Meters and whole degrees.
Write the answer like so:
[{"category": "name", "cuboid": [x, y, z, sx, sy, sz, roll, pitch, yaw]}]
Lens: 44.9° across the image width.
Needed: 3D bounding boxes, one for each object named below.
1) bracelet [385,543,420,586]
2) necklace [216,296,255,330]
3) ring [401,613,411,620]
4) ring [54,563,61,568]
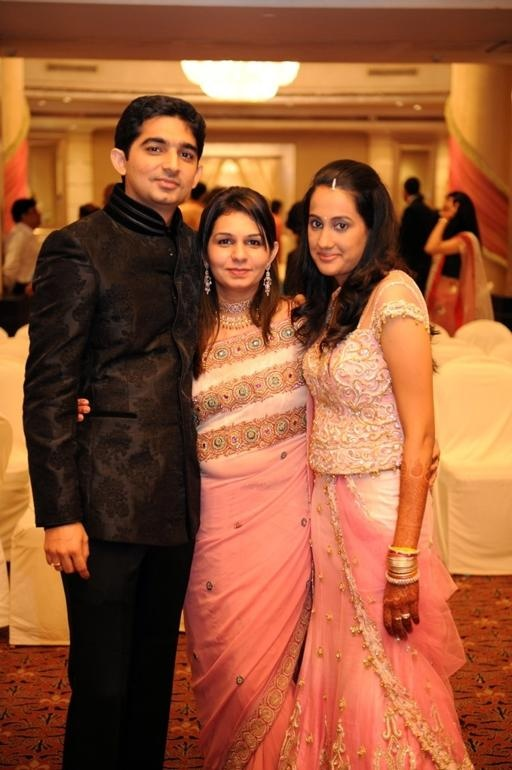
[{"category": "bracelet", "cuboid": [0.317, 0.393, 1.389, 0.082, 0.081, 0.081, 0, 4, -29]}, {"category": "necklace", "cuboid": [-0.057, -0.201, 1.756, 0.083, 0.061, 0.082, -3, 9, -8]}, {"category": "ring", "cuboid": [0.329, 0.508, 1.361, 0.015, 0.007, 0.017, 1, 4, 0]}, {"category": "ring", "cuboid": [-0.400, 0.364, 1.245, 0.010, 0.015, 0.008, -11, 4, -1]}]
